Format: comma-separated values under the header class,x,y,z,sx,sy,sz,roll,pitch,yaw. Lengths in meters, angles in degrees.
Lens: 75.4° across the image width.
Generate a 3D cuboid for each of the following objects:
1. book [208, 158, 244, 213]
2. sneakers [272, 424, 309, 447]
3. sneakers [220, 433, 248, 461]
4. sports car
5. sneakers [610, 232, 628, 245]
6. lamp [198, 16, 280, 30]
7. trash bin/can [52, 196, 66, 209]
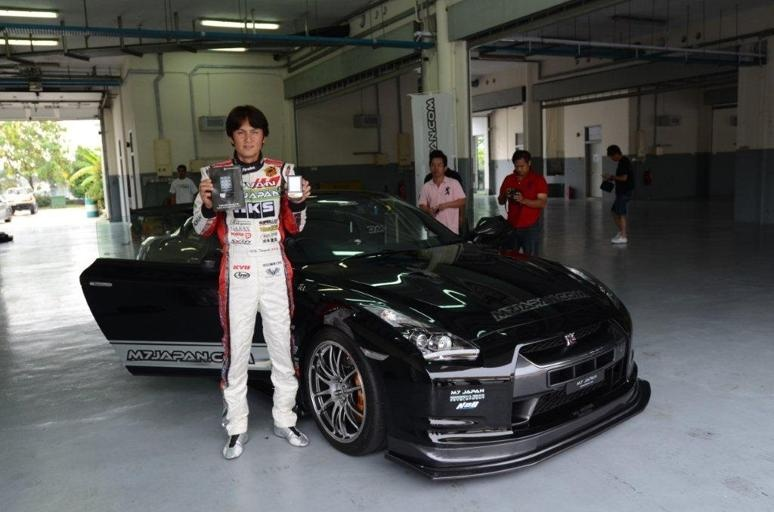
class,x,y,z,sx,sy,sz,roll,pitch,yaw
book,-1.051,-0.450,3.290,0.212,0.294,0.186,-7,13,-19
sneakers,-0.669,1.251,3.495,0.235,0.091,0.116,16,15,24
sneakers,-1.045,1.296,3.395,0.083,0.086,0.221,1,-1,-1
sports car,-0.373,0.273,4.868,3.959,1.424,4.807,-7,10,-42
sneakers,4.742,-0.332,10.366,0.191,0.235,0.565,1,0,33
lamp,-3.892,-6.119,13.168,1.461,0.094,0.222,-2,-6,8
trash bin/can,-27.480,-4.482,42.219,1.150,0.962,0.616,3,8,11
